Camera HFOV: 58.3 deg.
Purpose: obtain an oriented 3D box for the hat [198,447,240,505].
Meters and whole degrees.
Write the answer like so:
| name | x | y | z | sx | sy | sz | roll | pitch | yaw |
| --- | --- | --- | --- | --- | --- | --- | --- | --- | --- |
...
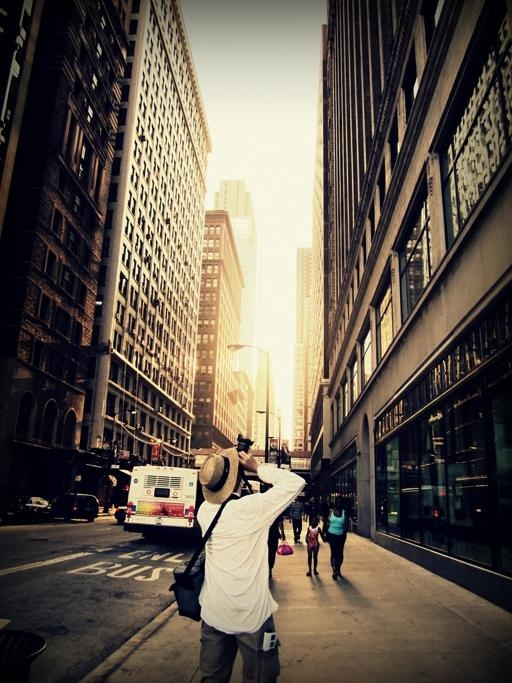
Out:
| name | x | y | z | sx | sy | sz | roll | pitch | yaw |
| --- | --- | --- | --- | --- | --- | --- | --- | --- | --- |
| hat | -0.200 | 0.815 | 2.561 | 0.073 | 0.308 | 0.273 | 18 | -61 | -32 |

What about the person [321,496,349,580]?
| name | x | y | z | sx | sy | sz | roll | pitch | yaw |
| --- | --- | --- | --- | --- | --- | --- | --- | --- | --- |
| person | 1.932 | 5.406 | 11.161 | 0.547 | 2.013 | 1.596 | 0 | -7 | 10 |

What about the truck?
| name | x | y | z | sx | sy | sz | roll | pitch | yaw |
| --- | --- | --- | --- | --- | --- | --- | --- | --- | --- |
| truck | -3.258 | 6.406 | 16.828 | 1.736 | 3.207 | 1.684 | 1 | -8 | 5 |
